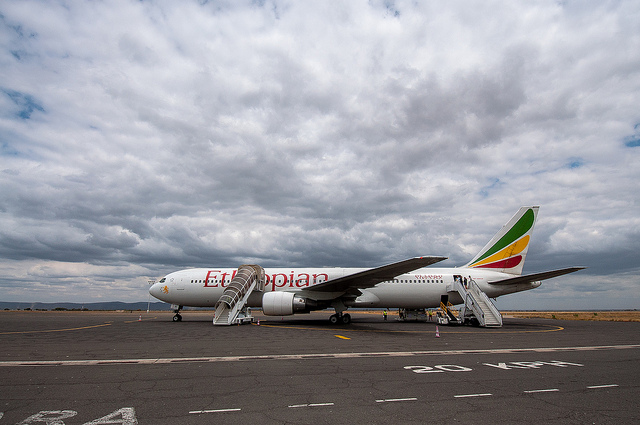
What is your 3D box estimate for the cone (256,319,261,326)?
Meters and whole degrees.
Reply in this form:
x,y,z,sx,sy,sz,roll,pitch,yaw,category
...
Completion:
x,y,z,sx,sy,sz,roll,pitch,yaw,category
-4.640,8.154,25.445,0.432,0.440,0.398,-4,-16,-2,cone
